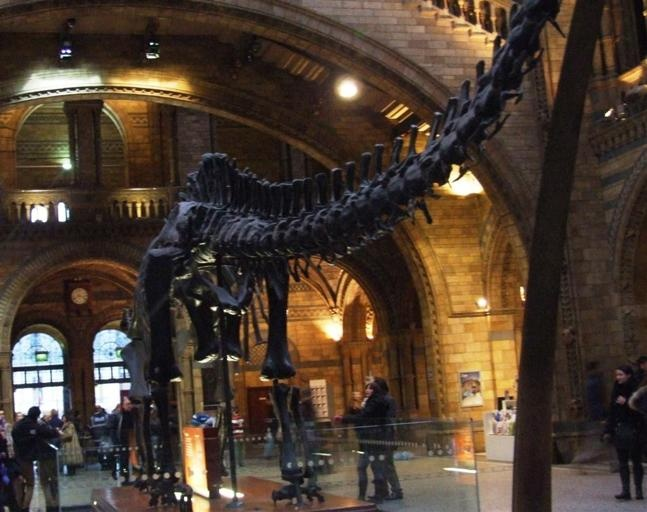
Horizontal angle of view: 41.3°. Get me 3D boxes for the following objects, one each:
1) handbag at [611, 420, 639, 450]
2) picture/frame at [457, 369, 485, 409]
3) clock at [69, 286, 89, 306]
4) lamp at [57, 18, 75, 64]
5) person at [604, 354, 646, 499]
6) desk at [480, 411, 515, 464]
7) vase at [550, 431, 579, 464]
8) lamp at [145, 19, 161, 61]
[{"bbox_3d":[3.174,1.890,9.052,0.266,0.256,0.259,-1,-6,28],"label":"handbag"},{"bbox_3d":[2.835,2.551,16.600,0.507,0.681,0.161,0,-15,-22],"label":"picture/frame"},{"bbox_3d":[-7.218,1.191,25.382,0.522,0.503,0.219,-1,-14,-15],"label":"clock"},{"bbox_3d":[-4.526,-3.759,15.126,0.275,0.331,0.918,4,-48,-15],"label":"lamp"},{"bbox_3d":[3.242,1.883,9.246,0.435,1.429,0.656,-9,-14,15],"label":"person"},{"bbox_3d":[2.791,3.091,14.563,0.538,0.868,0.966,4,-12,-9],"label":"desk"},{"bbox_3d":[3.667,2.975,13.339,0.225,0.470,0.517,1,-14,-23],"label":"vase"},{"bbox_3d":[-3.079,-3.821,15.404,0.308,0.768,0.884,-3,-13,-11],"label":"lamp"}]
